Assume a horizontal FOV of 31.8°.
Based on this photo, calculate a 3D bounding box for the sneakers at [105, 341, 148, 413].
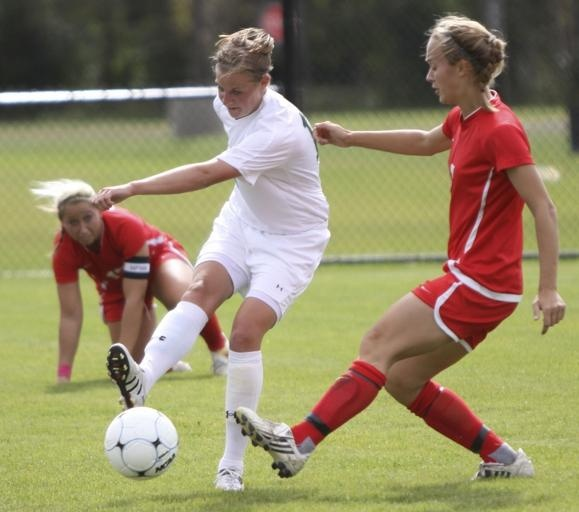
[{"bbox_3d":[-0.657,0.505,4.306,0.111,0.318,0.150,-10,25,15],"label":"sneakers"}]

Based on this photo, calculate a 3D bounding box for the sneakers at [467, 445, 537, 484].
[{"bbox_3d":[0.929,0.895,4.301,0.320,0.127,0.104,-2,-7,5],"label":"sneakers"}]

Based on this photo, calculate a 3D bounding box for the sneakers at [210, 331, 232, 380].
[{"bbox_3d":[-0.395,0.590,5.877,0.108,0.207,0.302,-1,-9,-2],"label":"sneakers"}]

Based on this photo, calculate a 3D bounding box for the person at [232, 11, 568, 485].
[{"bbox_3d":[0.572,-0.056,4.416,1.104,1.944,0.886,-2,11,-1],"label":"person"}]
